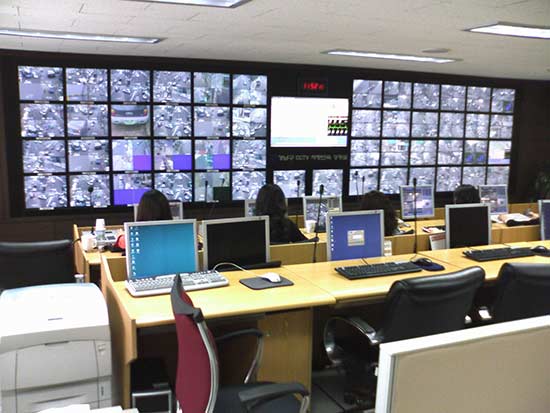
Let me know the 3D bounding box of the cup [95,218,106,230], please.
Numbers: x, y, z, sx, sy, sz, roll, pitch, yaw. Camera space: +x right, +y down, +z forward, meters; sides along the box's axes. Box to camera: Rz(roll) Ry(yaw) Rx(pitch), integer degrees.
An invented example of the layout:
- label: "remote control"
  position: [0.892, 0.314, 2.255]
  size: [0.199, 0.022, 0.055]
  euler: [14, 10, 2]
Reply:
- label: "cup"
  position: [-1.727, 0.189, 4.485]
  size: [0.125, 0.128, 0.122]
  euler: [2, 0, 0]

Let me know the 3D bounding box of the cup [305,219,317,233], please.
- label: "cup"
  position: [0.391, 0.247, 5.121]
  size: [0.126, 0.096, 0.130]
  euler: [2, 4, 0]

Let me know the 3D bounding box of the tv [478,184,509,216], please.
- label: "tv"
  position: [2.585, -0.059, 5.397]
  size: [0.420, 0.395, 0.044]
  euler: [1, -4, -16]

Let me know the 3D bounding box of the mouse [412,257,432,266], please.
- label: "mouse"
  position: [1.004, 0.385, 3.066]
  size: [0.097, 0.028, 0.060]
  euler: [1, 13, -27]

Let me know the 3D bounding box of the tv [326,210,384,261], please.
- label: "tv"
  position: [0.562, 0.221, 3.237]
  size: [0.362, 0.350, 0.025]
  euler: [-3, 9, -15]

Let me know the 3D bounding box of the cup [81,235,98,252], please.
- label: "cup"
  position: [-1.681, 0.349, 4.156]
  size: [0.156, 0.114, 0.101]
  euler: [12, 11, 31]

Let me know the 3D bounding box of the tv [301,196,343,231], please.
- label: "tv"
  position: [0.540, 0.047, 5.194]
  size: [0.538, 0.458, 0.374]
  euler: [0, -3, -10]

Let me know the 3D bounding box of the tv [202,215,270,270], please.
- label: "tv"
  position: [-0.257, 0.261, 3.004]
  size: [0.368, 0.269, 0.026]
  euler: [-3, 4, -25]

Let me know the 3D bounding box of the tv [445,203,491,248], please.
- label: "tv"
  position: [1.533, 0.168, 3.638]
  size: [0.356, 0.343, 0.025]
  euler: [-3, 3, -23]
